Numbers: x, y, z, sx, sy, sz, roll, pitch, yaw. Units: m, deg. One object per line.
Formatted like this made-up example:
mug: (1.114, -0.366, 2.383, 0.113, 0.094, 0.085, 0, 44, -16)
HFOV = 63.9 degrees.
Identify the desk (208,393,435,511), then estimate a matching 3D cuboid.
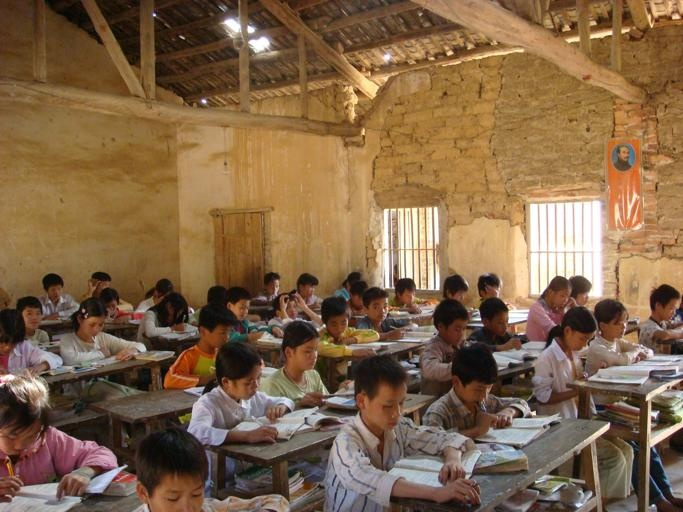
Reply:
desk: (-0.118, 0.941, 2.600, 0.398, 0.346, 0.775, -2, -1, 35)

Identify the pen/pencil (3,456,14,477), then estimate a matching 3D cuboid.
pen/pencil: (-1.450, 0.916, 2.389, 0.026, 0.091, 0.014, -17, -3, -20)

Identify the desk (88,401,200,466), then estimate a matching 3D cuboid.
desk: (-1.324, 1.180, 3.432, 0.535, 0.360, 0.477, -3, -20, 21)
